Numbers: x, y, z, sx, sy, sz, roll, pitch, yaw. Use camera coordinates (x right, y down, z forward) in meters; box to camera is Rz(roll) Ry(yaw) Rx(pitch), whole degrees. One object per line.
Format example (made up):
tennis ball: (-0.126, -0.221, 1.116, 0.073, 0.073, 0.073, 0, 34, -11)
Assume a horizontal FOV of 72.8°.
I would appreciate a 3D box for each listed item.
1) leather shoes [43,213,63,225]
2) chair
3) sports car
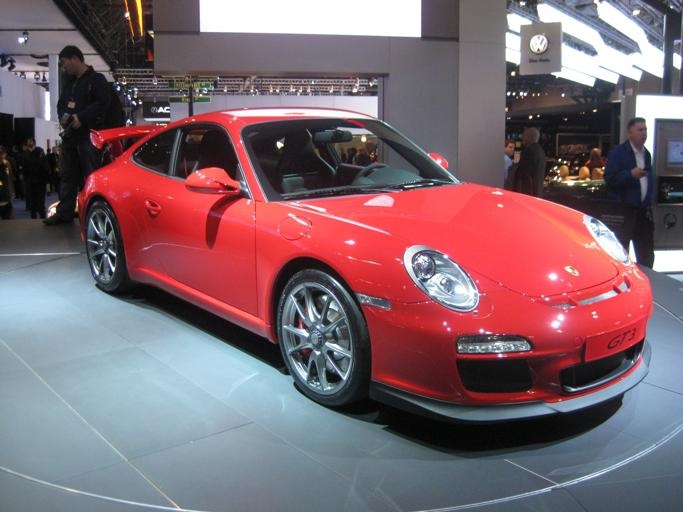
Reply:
leather shoes: (-4.207, -0.553, 6.717, 0.325, 0.154, 0.121, 0, 31, 11)
chair: (-0.292, -0.699, 3.314, 0.395, 0.311, 0.671, -13, 28, -30)
sports car: (-0.275, -0.292, 3.428, 4.434, 1.567, 1.741, 14, 20, 39)
